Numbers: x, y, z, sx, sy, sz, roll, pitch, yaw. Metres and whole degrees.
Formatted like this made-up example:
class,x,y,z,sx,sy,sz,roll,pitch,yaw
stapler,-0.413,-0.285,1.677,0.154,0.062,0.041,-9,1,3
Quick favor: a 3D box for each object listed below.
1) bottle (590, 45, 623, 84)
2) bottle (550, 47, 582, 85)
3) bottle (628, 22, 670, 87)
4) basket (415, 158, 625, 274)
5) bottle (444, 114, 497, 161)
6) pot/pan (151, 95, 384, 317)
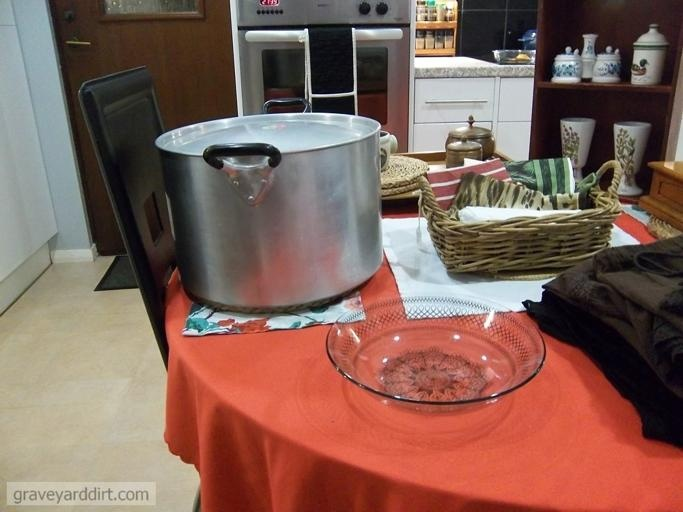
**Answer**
class,x,y,z,sx,sy,sz,roll,pitch,yaw
bottle,0.823,-0.597,1.572,0.097,0.112,0.082,12,21,35
bottle,0.743,-0.623,1.645,0.097,0.120,0.089,1,13,0
bottle,0.875,-0.572,1.429,0.087,0.155,0.113,13,28,29
basket,0.325,-0.041,0.920,0.260,0.141,0.202,-6,27,1
bottle,0.403,-0.364,1.513,0.142,0.160,0.151,-3,19,-5
pot/pan,-0.091,-0.053,0.850,0.298,0.234,0.363,1,24,10
